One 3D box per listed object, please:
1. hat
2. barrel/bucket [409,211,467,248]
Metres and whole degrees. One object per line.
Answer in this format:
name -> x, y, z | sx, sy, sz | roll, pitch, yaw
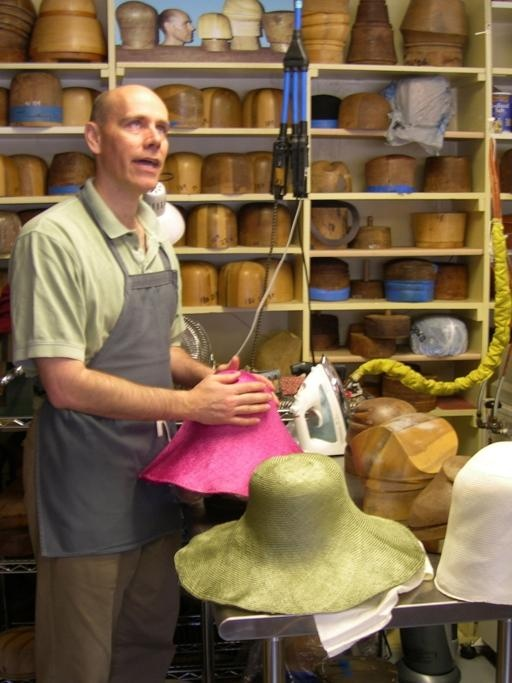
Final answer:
hat -> 0.053, 0.194, 0.910 | 0.248, 0.095, 0.350 | -5, 13, -22
barrel/bucket -> 0.832, -0.485, 2.951 | 0.210, 0.109, 0.192 | -1, 3, 0
